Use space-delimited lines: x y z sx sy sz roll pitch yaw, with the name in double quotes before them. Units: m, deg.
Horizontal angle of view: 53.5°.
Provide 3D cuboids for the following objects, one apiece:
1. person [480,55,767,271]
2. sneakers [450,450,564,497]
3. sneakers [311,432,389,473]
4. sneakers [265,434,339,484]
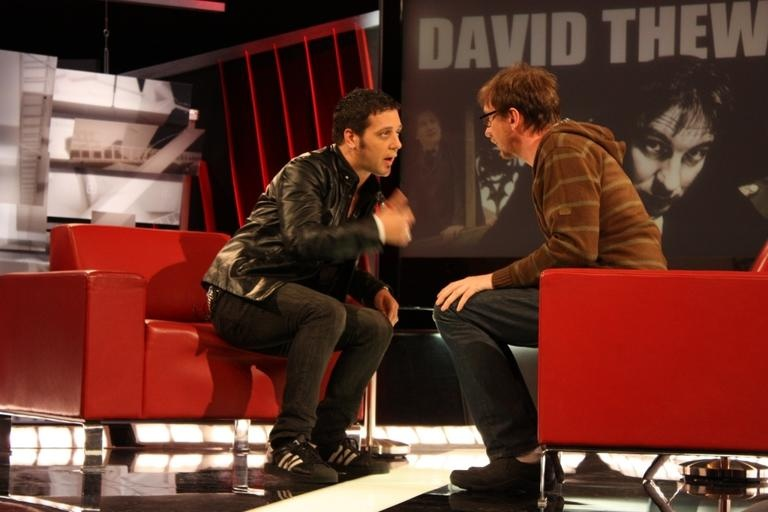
"person" 1.250 -0.483 4.282 1.183 0.684 1.161 0 3 -31
"sneakers" 0.434 0.761 2.795 0.432 0.178 0.157 1 -4 8
"sneakers" -0.133 0.812 3.187 0.338 0.140 0.125 0 -10 25
"sneakers" -0.322 0.765 2.911 0.348 0.142 0.138 0 -11 36
